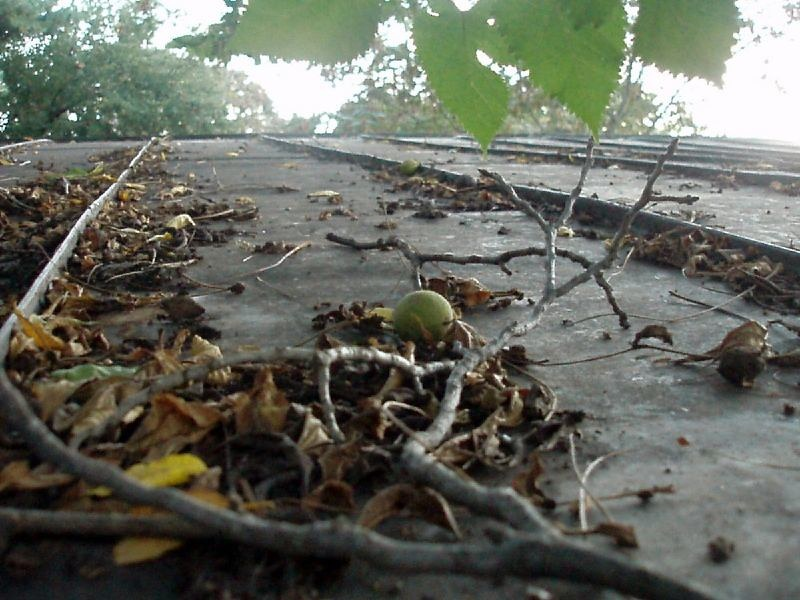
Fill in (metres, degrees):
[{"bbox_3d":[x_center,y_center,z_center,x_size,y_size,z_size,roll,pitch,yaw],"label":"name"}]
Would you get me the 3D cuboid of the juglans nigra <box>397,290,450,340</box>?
[{"bbox_3d":[0.107,0.076,2.416,0.241,0.225,0.268,8,10,-18],"label":"juglans nigra"}]
